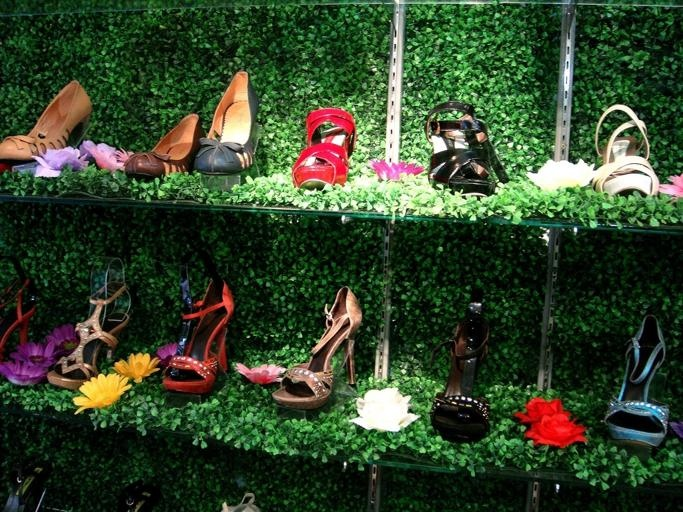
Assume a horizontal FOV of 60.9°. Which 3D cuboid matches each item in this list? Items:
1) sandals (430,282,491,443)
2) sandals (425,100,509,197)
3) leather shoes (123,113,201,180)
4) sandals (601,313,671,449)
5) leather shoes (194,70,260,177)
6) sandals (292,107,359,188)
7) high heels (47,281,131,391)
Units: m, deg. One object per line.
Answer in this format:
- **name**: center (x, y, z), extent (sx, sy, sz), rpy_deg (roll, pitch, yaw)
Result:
- **sandals**: center (0.426, 0.345, 1.961), extent (0.181, 0.193, 0.519), rpy_deg (1, 53, 30)
- **sandals**: center (0.405, -0.349, 1.921), extent (0.220, 0.147, 0.416), rpy_deg (1, 41, 11)
- **leather shoes**: center (-0.615, -0.408, 2.085), extent (0.154, 0.169, 0.417), rpy_deg (5, 30, 24)
- **sandals**: center (1.018, 0.398, 1.960), extent (0.174, 0.154, 0.515), rpy_deg (-3, 43, 39)
- **leather shoes**: center (-0.389, -0.458, 2.036), extent (0.189, 0.167, 0.477), rpy_deg (4, 44, 6)
- **sandals**: center (-0.046, -0.402, 2.029), extent (0.153, 0.148, 0.400), rpy_deg (1, 40, 9)
- **high heels**: center (-0.885, 0.272, 2.146), extent (0.156, 0.206, 0.449), rpy_deg (15, 46, 14)
